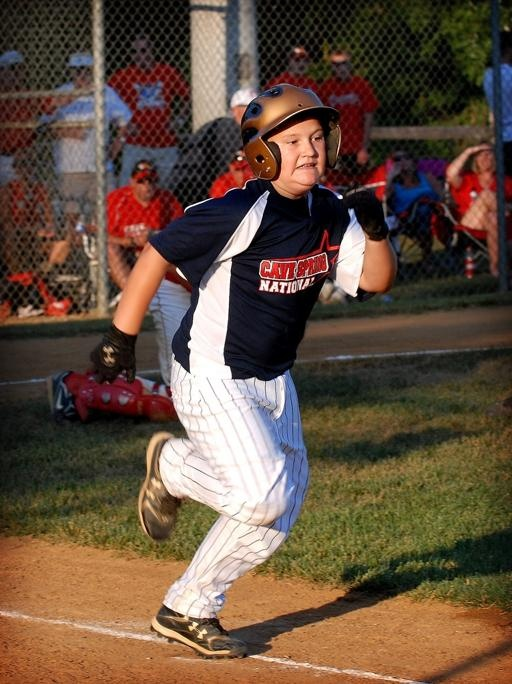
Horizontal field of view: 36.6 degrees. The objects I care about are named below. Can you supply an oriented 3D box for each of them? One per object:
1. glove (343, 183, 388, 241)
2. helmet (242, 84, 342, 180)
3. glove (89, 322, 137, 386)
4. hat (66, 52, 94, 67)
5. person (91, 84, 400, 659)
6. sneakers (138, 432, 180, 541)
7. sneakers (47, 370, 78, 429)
[{"bbox_3d":[0.315,-0.343,2.081,0.112,0.135,0.062,-6,39,36],"label":"glove"},{"bbox_3d":[0.077,-0.583,2.137,0.296,0.212,0.249,-1,19,27],"label":"helmet"},{"bbox_3d":[-0.392,0.024,2.164,0.141,0.163,0.057,7,24,-2],"label":"glove"},{"bbox_3d":[-1.382,-2.218,6.099,0.077,0.124,0.223,4,11,35],"label":"hat"},{"bbox_3d":[-0.019,0.081,2.226,0.719,1.572,0.603,-12,14,-41],"label":"person"},{"bbox_3d":[-0.257,0.458,2.427,0.134,0.317,0.156,-5,15,-31],"label":"sneakers"},{"bbox_3d":[-1.185,0.351,4.726,0.241,0.255,0.089,1,-6,11],"label":"sneakers"}]
